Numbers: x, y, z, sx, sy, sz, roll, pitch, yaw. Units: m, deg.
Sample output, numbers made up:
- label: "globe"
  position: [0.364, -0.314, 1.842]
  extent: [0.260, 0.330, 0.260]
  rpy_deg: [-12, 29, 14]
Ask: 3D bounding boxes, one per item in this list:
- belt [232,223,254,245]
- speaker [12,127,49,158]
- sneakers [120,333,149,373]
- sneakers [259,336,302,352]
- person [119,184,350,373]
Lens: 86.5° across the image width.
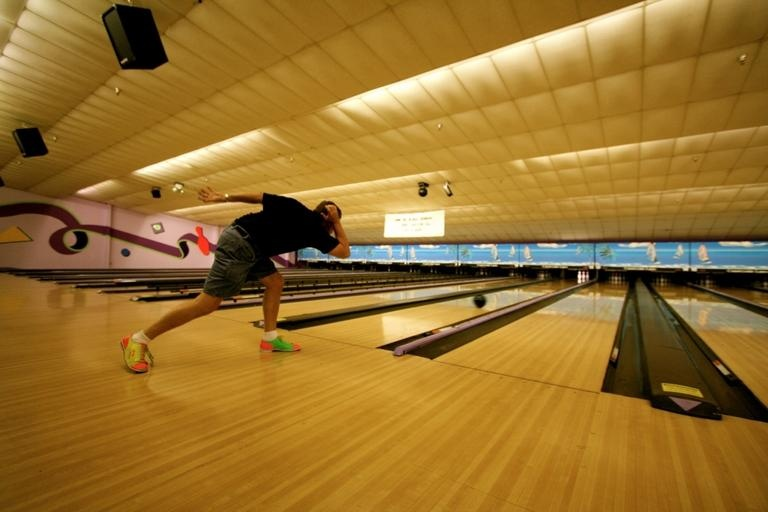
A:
- label: "belt"
  position: [-1.227, -0.185, 3.528]
  extent: [0.174, 0.058, 0.172]
  rpy_deg: [28, -18, 33]
- label: "speaker"
  position: [-7.003, -2.253, 7.998]
  extent: [0.512, 0.551, 0.460]
  rpy_deg: [2, 4, -15]
- label: "sneakers"
  position: [-2.029, 0.803, 3.338]
  extent: [0.198, 0.303, 0.118]
  rpy_deg: [1, 4, -19]
- label: "sneakers"
  position: [-0.967, 0.830, 3.821]
  extent: [0.437, 0.118, 0.131]
  rpy_deg: [2, -7, -12]
- label: "person"
  position: [-1.319, 0.147, 3.636]
  extent: [0.704, 1.309, 2.053]
  rpy_deg: [10, 13, 43]
